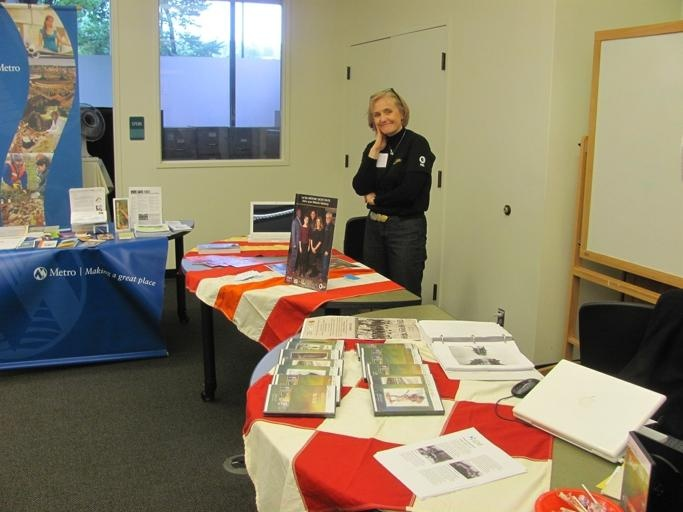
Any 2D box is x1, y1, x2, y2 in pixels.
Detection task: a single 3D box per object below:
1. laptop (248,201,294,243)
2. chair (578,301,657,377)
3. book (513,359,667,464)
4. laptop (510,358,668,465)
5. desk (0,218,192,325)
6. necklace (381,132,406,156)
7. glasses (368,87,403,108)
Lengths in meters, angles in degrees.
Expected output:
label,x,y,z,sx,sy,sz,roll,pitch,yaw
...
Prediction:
label,x,y,z,sx,sy,sz,roll,pitch,yaw
laptop,-0.453,-0.229,3.268,0.330,0.237,0.248,1,5,-5
chair,1.251,0.350,2.406,0.297,0.371,0.330,9,8,40
book,0.727,0.446,1.498,0.278,0.066,0.265,-29,26,-33
laptop,0.714,0.453,1.485,0.277,0.068,0.266,-30,26,-33
desk,-1.583,0.139,4.130,0.824,0.823,0.772,0,10,3
necklace,0.352,-0.746,3.339,0.120,0.151,0.155,-5,48,26
glasses,0.317,-1.069,3.373,0.221,0.128,0.357,4,13,7
